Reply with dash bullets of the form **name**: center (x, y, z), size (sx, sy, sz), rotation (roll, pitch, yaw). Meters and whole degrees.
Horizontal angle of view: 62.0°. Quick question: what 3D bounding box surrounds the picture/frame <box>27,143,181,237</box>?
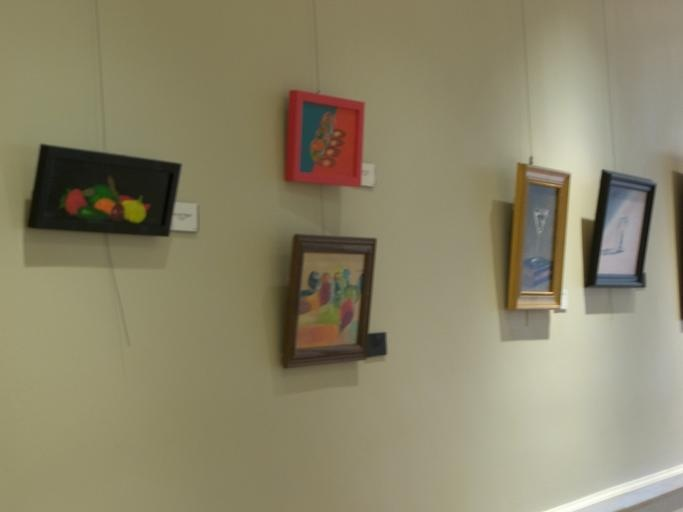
- **picture/frame**: center (-0.778, -0.197, 1.925), size (0.410, 0.293, 0.065), rotation (6, -27, -20)

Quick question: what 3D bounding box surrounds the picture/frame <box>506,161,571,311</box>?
- **picture/frame**: center (0.968, -0.082, 2.775), size (0.355, 0.688, 0.100), rotation (4, -3, -28)

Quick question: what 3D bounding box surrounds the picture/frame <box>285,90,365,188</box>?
- **picture/frame**: center (-0.078, -0.458, 2.242), size (0.324, 0.383, 0.068), rotation (4, -5, -30)

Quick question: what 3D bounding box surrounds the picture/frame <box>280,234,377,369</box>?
- **picture/frame**: center (-0.068, 0.172, 2.252), size (0.422, 0.641, 0.061), rotation (7, -1, -36)
